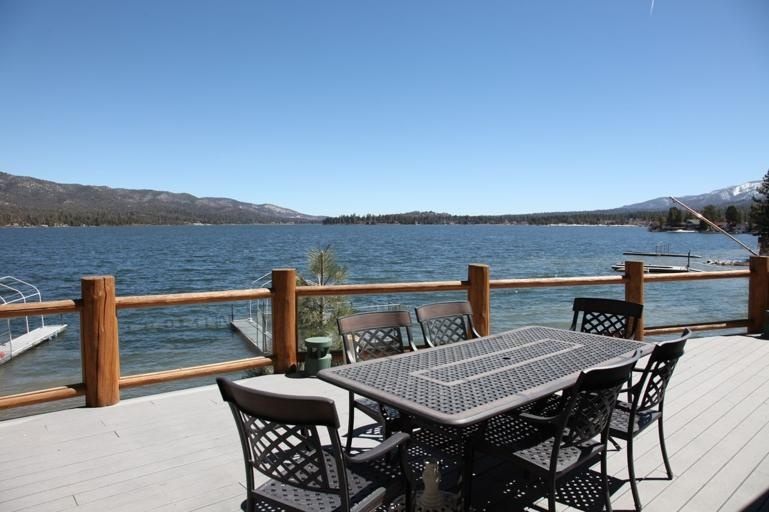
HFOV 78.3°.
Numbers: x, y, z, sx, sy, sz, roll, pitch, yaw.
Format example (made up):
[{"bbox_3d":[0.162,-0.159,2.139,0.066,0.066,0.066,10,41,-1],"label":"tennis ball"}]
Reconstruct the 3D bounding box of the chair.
[{"bbox_3d":[1.008,1.337,4.069,3.825,1.215,1.678,-7,9,-37],"label":"chair"}]

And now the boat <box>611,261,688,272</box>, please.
[{"bbox_3d":[16.971,0.662,30.095,3.976,0.461,0.888,2,19,19],"label":"boat"}]
